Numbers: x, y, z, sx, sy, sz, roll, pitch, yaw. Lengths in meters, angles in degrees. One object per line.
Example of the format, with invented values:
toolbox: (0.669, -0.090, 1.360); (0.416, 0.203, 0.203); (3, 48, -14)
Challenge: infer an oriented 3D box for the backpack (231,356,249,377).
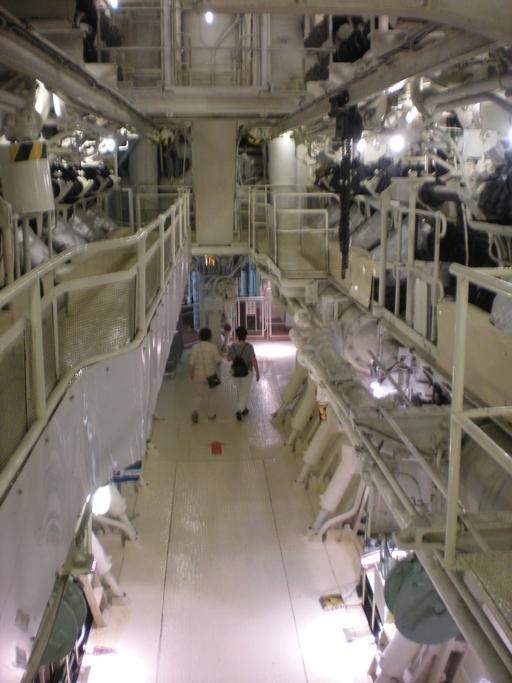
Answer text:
backpack: (-0.344, 0.541, 10.931); (0.393, 0.815, 0.358); (-2, 2, -1)

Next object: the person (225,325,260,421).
person: (-0.307, 0.674, 11.447); (0.694, 2.314, 1.307); (1, 13, 0)
